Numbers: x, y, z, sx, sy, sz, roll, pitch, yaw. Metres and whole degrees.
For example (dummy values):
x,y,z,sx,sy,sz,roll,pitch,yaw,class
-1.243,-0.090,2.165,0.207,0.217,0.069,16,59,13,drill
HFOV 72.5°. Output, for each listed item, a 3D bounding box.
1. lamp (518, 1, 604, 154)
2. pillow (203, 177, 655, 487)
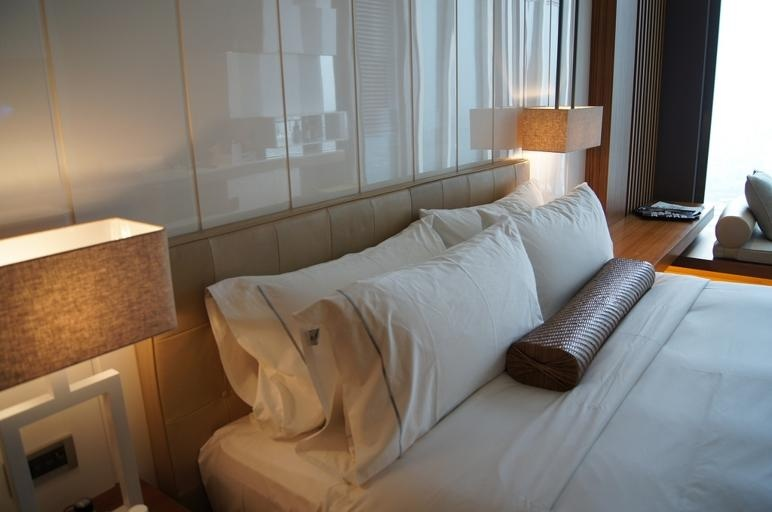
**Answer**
x,y,z,sx,sy,sz,roll,pitch,yaw,class
1.163,-1.110,3.458,0.407,0.951,0.825,6,19,30,lamp
0.301,0.242,2.148,1.707,0.618,0.960,-18,21,-39,pillow
